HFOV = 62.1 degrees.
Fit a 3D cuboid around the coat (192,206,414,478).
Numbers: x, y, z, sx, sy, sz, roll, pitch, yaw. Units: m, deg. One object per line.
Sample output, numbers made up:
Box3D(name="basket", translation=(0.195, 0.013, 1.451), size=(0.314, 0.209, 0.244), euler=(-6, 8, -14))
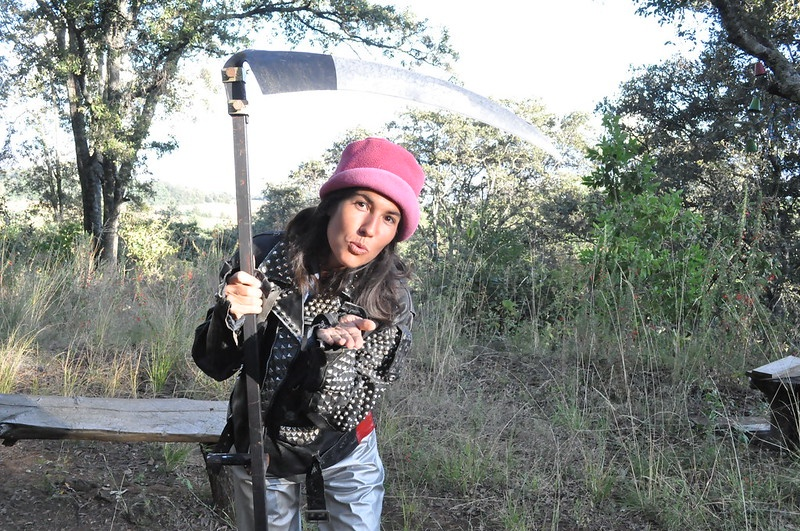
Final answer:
Box3D(name="coat", translation=(-0.858, 0.752, 5.692), size=(1.600, 2.103, 1.290), euler=(20, 21, 17))
